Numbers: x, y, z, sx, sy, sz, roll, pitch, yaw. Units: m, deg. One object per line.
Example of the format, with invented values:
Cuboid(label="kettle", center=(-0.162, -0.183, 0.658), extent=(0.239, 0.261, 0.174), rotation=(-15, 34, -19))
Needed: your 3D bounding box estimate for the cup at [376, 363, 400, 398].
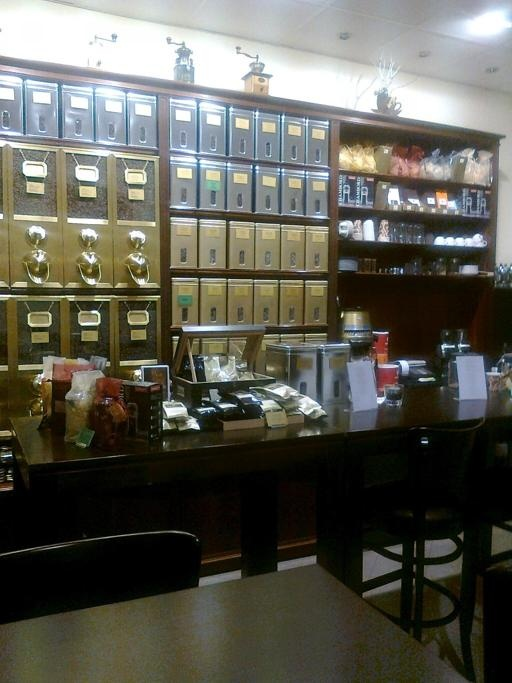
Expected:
Cuboid(label="cup", center=(0.582, 0.166, 2.392), extent=(0.102, 0.134, 0.120), rotation=(-1, 0, -37))

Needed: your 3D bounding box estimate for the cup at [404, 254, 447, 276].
Cuboid(label="cup", center=(1.242, -0.539, 4.108), extent=(0.271, 0.140, 0.203), rotation=(0, 1, -3))

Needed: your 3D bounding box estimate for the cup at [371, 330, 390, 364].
Cuboid(label="cup", center=(0.720, 0.033, 3.260), extent=(0.077, 0.169, 0.227), rotation=(1, 4, 9))

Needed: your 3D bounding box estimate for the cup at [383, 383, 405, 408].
Cuboid(label="cup", center=(0.543, 0.221, 2.217), extent=(0.067, 0.086, 0.075), rotation=(0, 0, -3))

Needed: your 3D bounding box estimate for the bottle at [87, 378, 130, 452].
Cuboid(label="bottle", center=(-0.408, 0.198, 1.566), extent=(0.102, 0.189, 0.087), rotation=(0, 4, -16))
